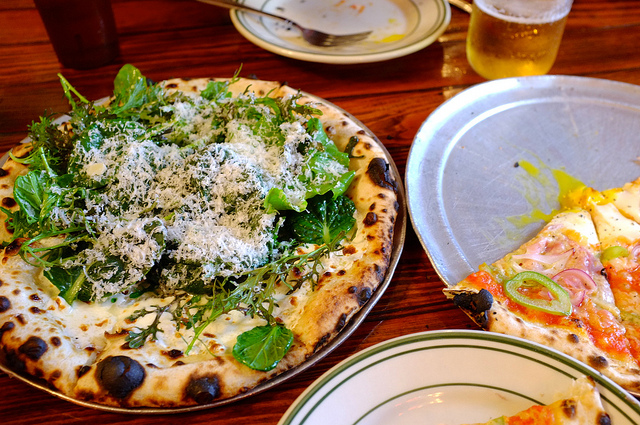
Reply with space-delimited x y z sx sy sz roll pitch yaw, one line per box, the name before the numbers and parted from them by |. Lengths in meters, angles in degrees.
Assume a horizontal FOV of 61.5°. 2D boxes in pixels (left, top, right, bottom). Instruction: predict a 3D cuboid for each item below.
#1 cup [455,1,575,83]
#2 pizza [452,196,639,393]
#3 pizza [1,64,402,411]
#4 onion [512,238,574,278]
cup | 0.775 -0.723 2.249 0.416 0.417 0.343 2 55 9
pizza | 0.815 0.196 1.755 0.587 0.202 0.627 29 65 15
pizza | -0.432 0.045 1.806 1.391 0.204 1.164 -8 62 -4
onion | 0.756 0.157 1.800 0.163 0.035 0.106 -5 40 5
